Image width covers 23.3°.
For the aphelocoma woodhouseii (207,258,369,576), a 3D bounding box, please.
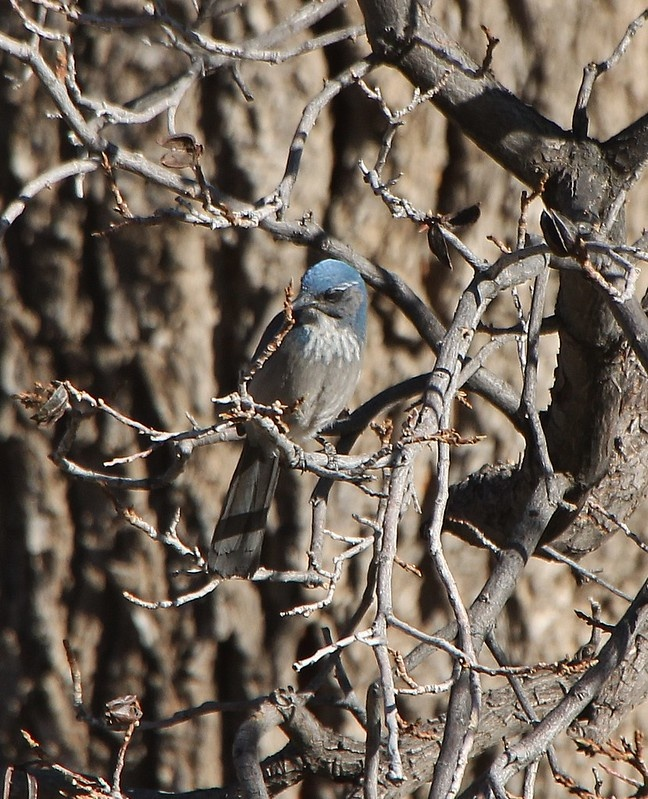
[{"bbox_3d":[-0.131,0.071,6.578,0.513,1.340,0.624,9,8,0],"label":"aphelocoma woodhouseii"}]
